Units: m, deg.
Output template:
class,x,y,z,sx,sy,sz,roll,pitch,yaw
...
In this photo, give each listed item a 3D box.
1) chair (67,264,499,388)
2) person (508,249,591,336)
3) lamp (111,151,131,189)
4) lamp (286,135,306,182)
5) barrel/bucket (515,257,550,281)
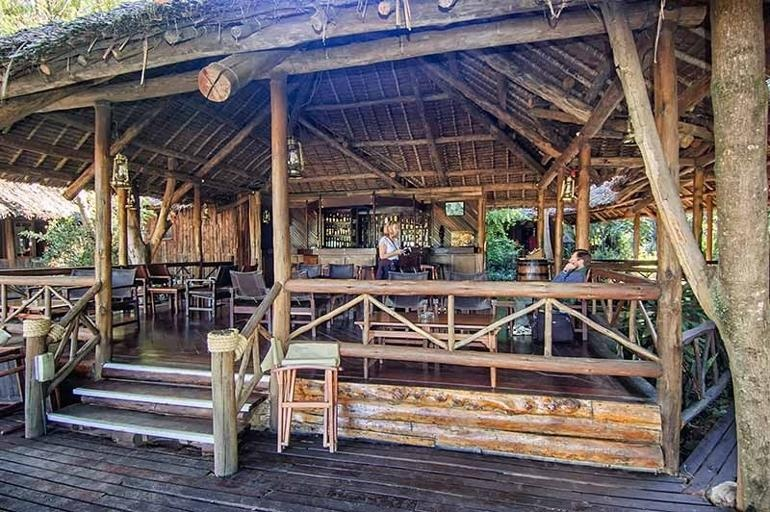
class,x,y,z,sx,sy,sz,roll,pitch,yaw
chair,-0.476,0.854,6.641,3.949,1.212,1.689,0,-1,-5
person,2.258,0.503,7.520,0.672,1.167,1.286,0,-1,-25
lamp,-4.034,-1.334,8.671,0.249,0.570,0.752,0,-1,-24
lamp,-1.373,-1.536,8.718,0.201,0.651,0.451,0,-1,-7
barrel/bucket,2.148,0.201,8.308,0.416,0.363,0.402,-1,-2,0
